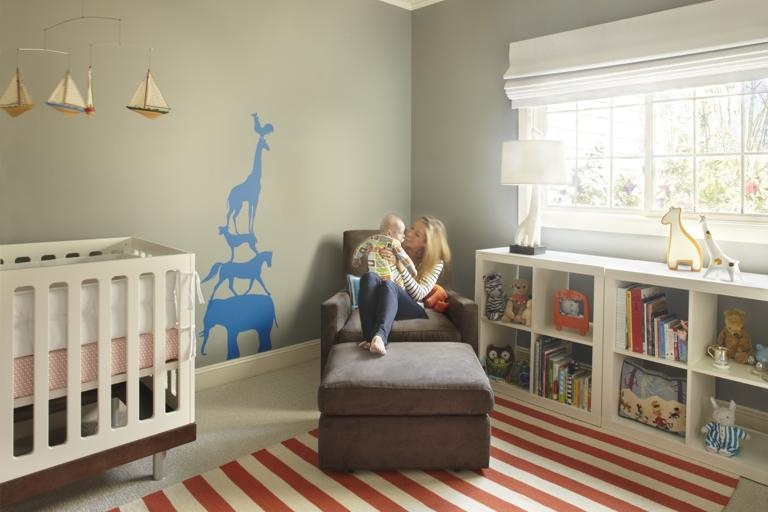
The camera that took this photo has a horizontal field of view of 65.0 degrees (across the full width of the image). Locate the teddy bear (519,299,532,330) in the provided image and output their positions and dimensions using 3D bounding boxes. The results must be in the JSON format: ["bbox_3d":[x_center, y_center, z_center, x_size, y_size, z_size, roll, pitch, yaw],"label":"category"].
[{"bbox_3d":[0.982,0.401,4.176,0.075,0.165,0.120,9,-9,-13],"label":"teddy bear"}]

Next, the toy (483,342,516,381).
[{"bbox_3d":[0.843,0.740,4.371,0.215,0.301,0.158,8,30,23],"label":"toy"}]

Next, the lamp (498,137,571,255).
[{"bbox_3d":[1.052,-0.422,4.248,0.431,0.777,0.374,1,10,13],"label":"lamp"}]

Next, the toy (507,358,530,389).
[{"bbox_3d":[0.972,0.835,4.285,0.183,0.189,0.121,4,-5,12],"label":"toy"}]

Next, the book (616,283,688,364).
[{"bbox_3d":[1.629,0.399,3.687,0.447,0.516,0.385,1,0,37],"label":"book"}]

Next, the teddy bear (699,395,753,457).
[{"bbox_3d":[1.974,0.982,3.492,0.254,0.306,0.196,1,6,34],"label":"teddy bear"}]

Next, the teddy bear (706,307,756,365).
[{"bbox_3d":[2.081,0.472,3.580,0.209,0.289,0.242,-16,13,-29],"label":"teddy bear"}]

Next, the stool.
[{"bbox_3d":[0.080,0.871,3.704,1.050,0.636,0.767,3,15,-13],"label":"stool"}]

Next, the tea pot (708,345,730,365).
[{"bbox_3d":[1.970,0.593,3.565,0.071,0.080,0.110,1,-7,-12],"label":"tea pot"}]

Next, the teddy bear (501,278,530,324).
[{"bbox_3d":[0.956,0.319,4.243,0.198,0.319,0.200,-9,13,-43],"label":"teddy bear"}]
